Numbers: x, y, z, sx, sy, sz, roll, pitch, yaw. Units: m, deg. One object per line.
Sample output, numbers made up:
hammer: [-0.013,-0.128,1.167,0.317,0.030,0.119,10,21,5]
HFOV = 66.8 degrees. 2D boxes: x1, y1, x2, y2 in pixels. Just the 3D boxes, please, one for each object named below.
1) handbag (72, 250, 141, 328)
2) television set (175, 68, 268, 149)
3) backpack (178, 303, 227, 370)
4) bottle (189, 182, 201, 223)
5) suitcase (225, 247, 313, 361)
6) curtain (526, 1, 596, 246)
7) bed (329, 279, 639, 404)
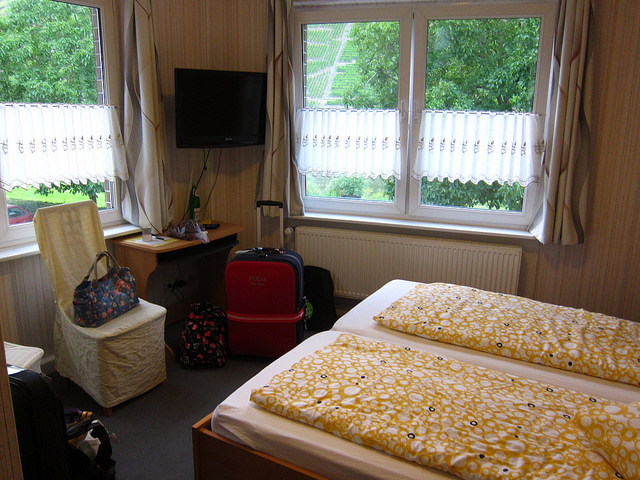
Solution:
handbag: [-1.377,0.281,3.108,0.162,0.444,0.457,2,17,22]
television set: [-0.785,-1.023,3.740,0.590,0.479,0.042,-11,22,-34]
backpack: [-0.798,0.696,3.675,0.402,0.540,0.365,0,5,0]
bottle: [-1.058,-0.324,4.082,0.090,0.285,0.369,-4,15,-14]
suitcase: [-0.382,0.421,3.739,0.618,0.994,0.496,1,25,4]
curtain: [1.721,-0.792,3.364,0.390,1.636,0.244,7,16,26]
bed: [0.942,0.503,2.664,1.294,0.216,0.745,11,22,27]
